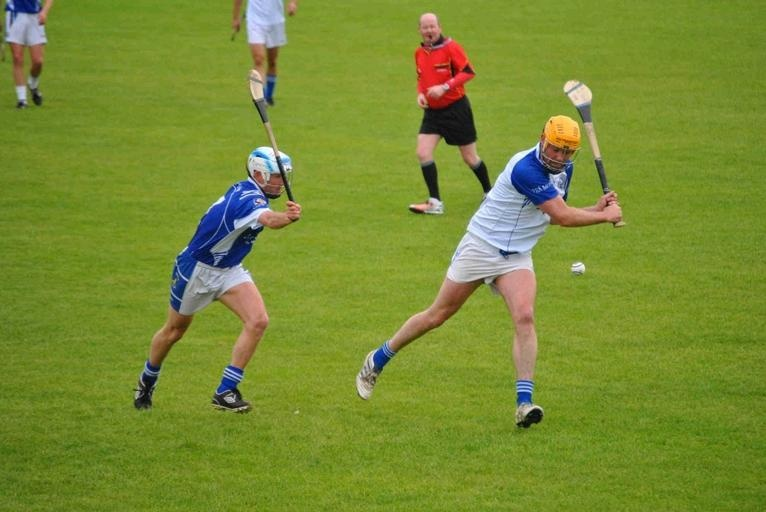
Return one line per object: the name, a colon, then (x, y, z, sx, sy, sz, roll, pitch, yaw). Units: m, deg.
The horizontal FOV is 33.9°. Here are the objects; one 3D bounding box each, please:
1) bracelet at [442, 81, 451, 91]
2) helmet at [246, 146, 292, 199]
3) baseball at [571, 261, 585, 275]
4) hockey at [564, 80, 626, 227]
bracelet: (0.931, -2.503, 18.573, 0.111, 0.133, 0.122, 1, 23, -15)
helmet: (-1.363, -1.008, 15.218, 0.593, 0.499, 0.440, 4, 14, 28)
baseball: (2.704, 0.176, 17.563, 0.180, 0.158, 0.171, 14, 22, 17)
hockey: (2.597, -1.634, 15.944, 0.575, 0.244, 3.125, -9, 51, 2)
